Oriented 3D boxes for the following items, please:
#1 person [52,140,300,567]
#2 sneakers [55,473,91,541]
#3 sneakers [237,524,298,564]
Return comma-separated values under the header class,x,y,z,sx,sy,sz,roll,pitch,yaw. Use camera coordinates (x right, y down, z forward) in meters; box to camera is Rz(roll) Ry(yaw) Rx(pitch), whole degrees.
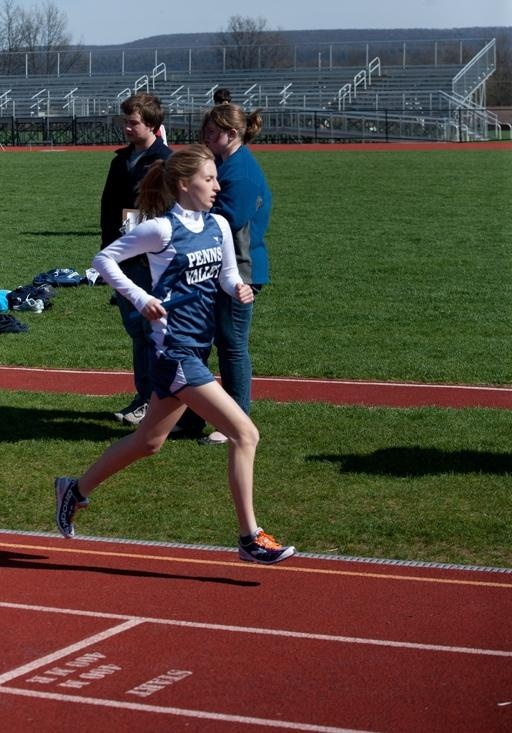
class,x,y,z,sx,sy,sz,roll,pitch,yaw
person,-0.329,-0.011,3.909,1.014,1.723,0.460,1,11,7
sneakers,-0.795,0.607,4.187,0.187,0.286,0.108,1,9,19
sneakers,0.028,0.727,3.878,0.282,0.135,0.105,0,7,12
